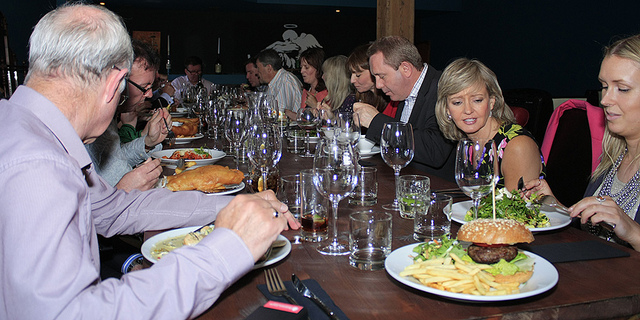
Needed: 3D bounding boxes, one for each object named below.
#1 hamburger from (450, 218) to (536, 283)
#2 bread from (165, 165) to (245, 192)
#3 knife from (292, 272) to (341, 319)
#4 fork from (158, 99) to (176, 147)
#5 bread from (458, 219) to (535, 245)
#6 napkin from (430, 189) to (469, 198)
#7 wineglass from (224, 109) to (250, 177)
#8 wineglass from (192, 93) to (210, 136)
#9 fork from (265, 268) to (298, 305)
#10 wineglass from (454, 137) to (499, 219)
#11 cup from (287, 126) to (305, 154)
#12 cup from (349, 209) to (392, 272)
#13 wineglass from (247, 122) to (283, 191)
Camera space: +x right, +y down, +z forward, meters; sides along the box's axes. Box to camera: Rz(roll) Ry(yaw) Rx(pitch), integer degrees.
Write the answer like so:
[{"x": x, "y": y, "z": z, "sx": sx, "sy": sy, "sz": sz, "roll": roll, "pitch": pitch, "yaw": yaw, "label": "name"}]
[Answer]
[{"x": 0.648, "y": 0.324, "z": 1.382, "sx": 0.255, "sy": 0.138, "sz": 0.244, "roll": -3, "pitch": 0, "yaw": 10, "label": "hamburger"}, {"x": -0.641, "y": 0.099, "z": 2.035, "sx": 0.400, "sy": 0.111, "sz": 0.158, "roll": 0, "pitch": 15, "yaw": -1, "label": "bread"}, {"x": -0.032, "y": 0.467, "z": 1.280, "sx": 0.056, "sy": 0.021, "sz": 0.387, "roll": -19, "pitch": 24, "yaw": -18, "label": "knife"}, {"x": -1.329, "y": -0.280, "z": 3.182, "sx": 0.061, "sy": 0.338, "sz": 0.050, "roll": -35, "pitch": -5, "yaw": 42, "label": "fork"}, {"x": 0.720, "y": 0.289, "z": 1.514, "sx": 0.283, "sy": 0.071, "sz": 0.289, "roll": 0, "pitch": -6, "yaw": -20, "label": "bread"}, {"x": 0.686, "y": 0.179, "z": 1.985, "sx": 0.166, "sy": 0.007, "sz": 0.052, "roll": 1, "pitch": 22, "yaw": 20, "label": "napkin"}, {"x": -0.581, "y": -0.110, "z": 2.569, "sx": 0.207, "sy": 0.473, "sz": 0.191, "roll": 0, "pitch": 8, "yaw": -10, "label": "wineglass"}, {"x": -1.368, "y": -0.532, "z": 4.189, "sx": 0.248, "sy": 0.486, "sz": 0.224, "roll": 3, "pitch": 14, "yaw": 7, "label": "wineglass"}, {"x": -0.140, "y": 0.459, "z": 1.287, "sx": 0.039, "sy": 0.030, "sz": 0.219, "roll": -14, "pitch": 36, "yaw": -30, "label": "fork"}, {"x": 0.713, "y": 0.043, "z": 1.684, "sx": 0.171, "sy": 0.266, "sz": 0.111, "roll": 5, "pitch": 18, "yaw": 17, "label": "wineglass"}, {"x": -0.201, "y": -0.170, "z": 3.217, "sx": 0.194, "sy": 0.191, "sz": 0.186, "roll": 0, "pitch": 9, "yaw": 0, "label": "cup"}, {"x": 0.139, "y": 0.319, "z": 1.503, "sx": 0.226, "sy": 0.228, "sz": 0.216, "roll": 0, "pitch": 4, "yaw": 0, "label": "cup"}, {"x": -0.297, "y": -0.029, "z": 1.985, "sx": 0.177, "sy": 0.346, "sz": 0.231, "roll": -3, "pitch": 16, "yaw": -9, "label": "wineglass"}]
